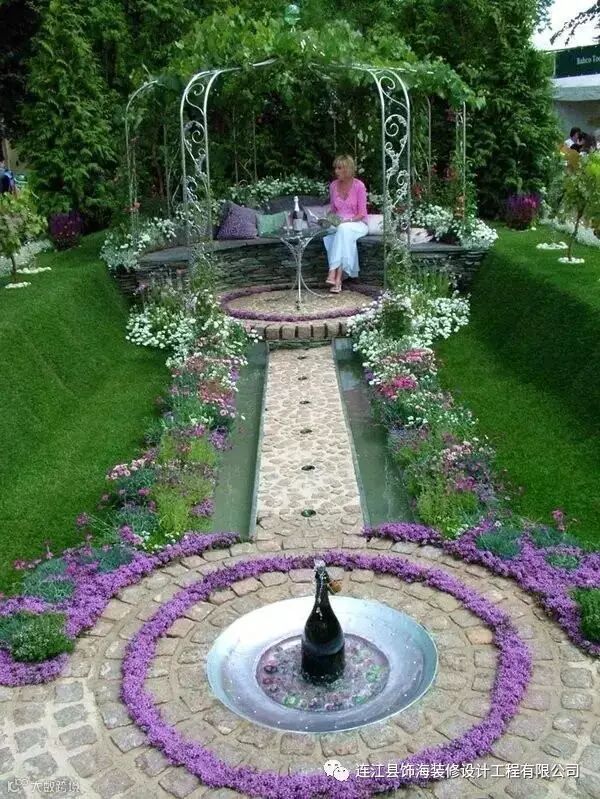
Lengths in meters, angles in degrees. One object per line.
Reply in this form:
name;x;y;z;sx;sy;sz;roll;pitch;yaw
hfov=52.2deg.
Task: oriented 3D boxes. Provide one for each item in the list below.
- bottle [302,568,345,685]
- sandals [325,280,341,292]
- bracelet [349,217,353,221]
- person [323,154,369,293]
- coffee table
bottle;0.084;0.963;2.695;0.197;0.531;0.241;1;16;20
sandals;0.507;-1.758;9.415;0.228;0.158;0.615;-1;3;-1
bracelet;0.757;-2.728;9.219;0.038;0.047;0.059;-3;14;5
person;0.679;-2.712;9.402;0.678;2.064;1.136;-3;15;6
coffee table;-0.018;-1.977;8.946;0.866;0.984;0.889;-2;7;-13
